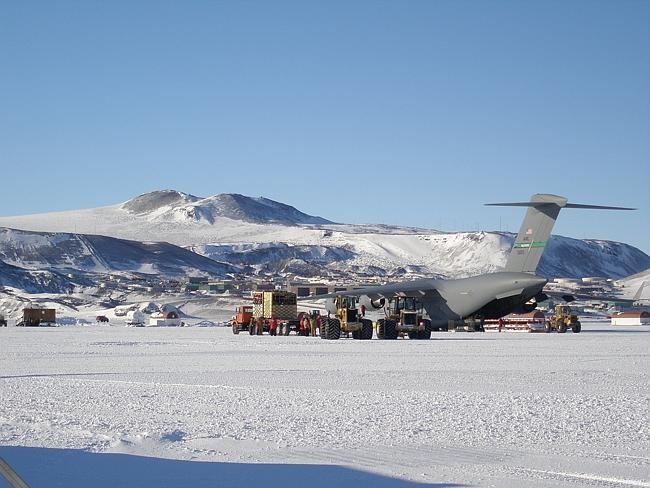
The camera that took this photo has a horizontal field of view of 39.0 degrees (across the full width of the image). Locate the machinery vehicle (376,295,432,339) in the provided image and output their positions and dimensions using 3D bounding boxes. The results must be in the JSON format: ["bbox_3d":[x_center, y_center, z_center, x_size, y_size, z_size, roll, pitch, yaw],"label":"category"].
[{"bbox_3d":[3.299,3.164,38.408,1.657,1.116,2.609,0,-7,-10],"label":"machinery vehicle"}]

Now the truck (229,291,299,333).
[{"bbox_3d":[-3.203,3.393,44.891,2.465,2.119,6.940,5,-5,-23],"label":"truck"}]
